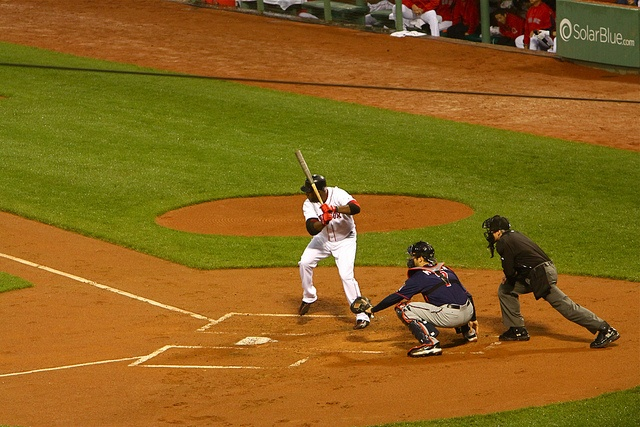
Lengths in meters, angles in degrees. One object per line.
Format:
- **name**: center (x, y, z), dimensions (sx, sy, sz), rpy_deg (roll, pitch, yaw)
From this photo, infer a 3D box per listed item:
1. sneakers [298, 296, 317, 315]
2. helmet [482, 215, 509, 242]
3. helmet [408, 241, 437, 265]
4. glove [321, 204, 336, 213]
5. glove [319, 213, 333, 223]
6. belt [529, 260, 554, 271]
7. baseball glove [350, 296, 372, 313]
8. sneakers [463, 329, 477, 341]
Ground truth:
- **sneakers**: center (-0.274, 1.840, 20.991), dimensions (0.167, 0.419, 0.183), rpy_deg (34, -18, 25)
- **helmet**: center (3.292, 0.262, 19.877), dimensions (0.544, 0.371, 0.365), rpy_deg (-9, -4, 12)
- **helmet**: center (1.857, 0.726, 19.848), dimensions (0.561, 0.367, 0.366), rpy_deg (-5, 15, 12)
- **glove**: center (0.180, -0.088, 20.166), dimensions (0.206, 0.067, 0.198), rpy_deg (4, -8, -43)
- **glove**: center (0.128, 0.109, 20.281), dimensions (0.244, 0.261, 0.338), rpy_deg (5, 8, -1)
- **belt**: center (4.153, 0.958, 19.601), dimensions (0.423, 0.184, 0.124), rpy_deg (1, 11, -24)
- **baseball glove**: center (0.752, 1.744, 20.060), dimensions (0.371, 0.247, 0.402), rpy_deg (-18, -12, 30)
- **sneakers**: center (2.814, 2.286, 19.778), dimensions (0.131, 0.123, 0.335), rpy_deg (0, 10, 4)
